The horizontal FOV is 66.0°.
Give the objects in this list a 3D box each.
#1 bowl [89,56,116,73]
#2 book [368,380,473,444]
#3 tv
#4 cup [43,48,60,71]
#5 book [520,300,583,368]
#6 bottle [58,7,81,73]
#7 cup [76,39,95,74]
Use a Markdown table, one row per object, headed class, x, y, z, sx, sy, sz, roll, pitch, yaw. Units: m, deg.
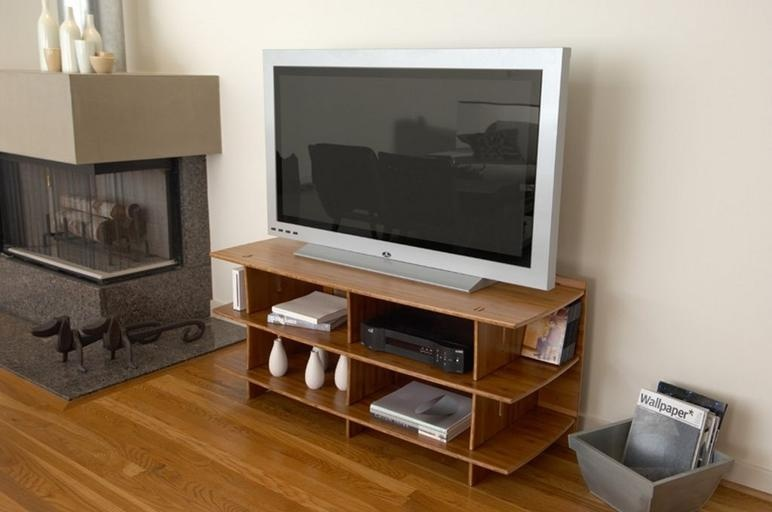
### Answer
| class | x | y | z | sx | sy | sz | roll | pitch | yaw |
| --- | --- | --- | --- | --- | --- | --- | --- | --- | --- |
| bowl | -1.601 | -1.091 | 3.367 | 0.119 | 0.072 | 0.118 | 0 | 9 | 0 |
| book | 0.199 | 0.714 | 2.771 | 0.422 | 0.080 | 0.335 | 11 | 18 | 31 |
| tv | 0.186 | -0.403 | 2.679 | 1.310 | 0.758 | 0.334 | 9 | 22 | 31 |
| cup | -1.932 | -1.144 | 3.443 | 0.088 | 0.133 | 0.104 | -4 | 18 | -18 |
| book | 0.725 | 0.335 | 2.621 | 0.325 | 0.254 | 0.167 | 9 | 13 | 31 |
| bottle | -1.829 | -1.261 | 3.444 | 0.125 | 0.365 | 0.257 | -7 | 19 | -25 |
| cup | -1.707 | -1.143 | 3.393 | 0.081 | 0.179 | 0.149 | -12 | 22 | -38 |
